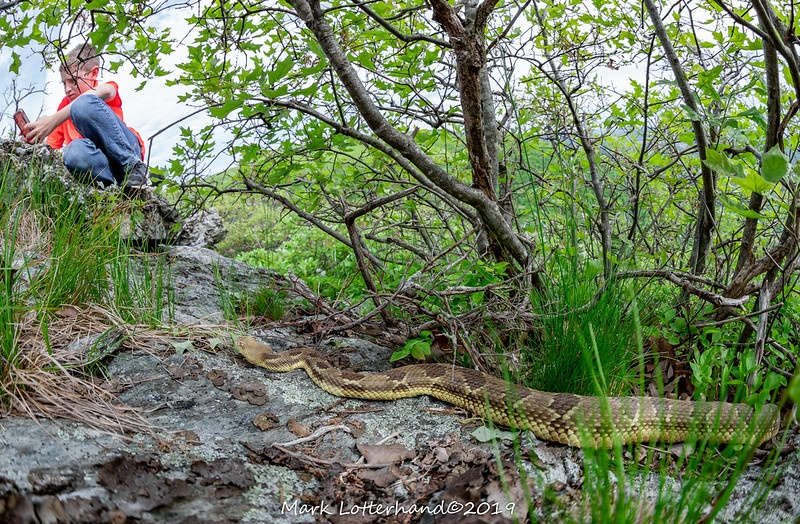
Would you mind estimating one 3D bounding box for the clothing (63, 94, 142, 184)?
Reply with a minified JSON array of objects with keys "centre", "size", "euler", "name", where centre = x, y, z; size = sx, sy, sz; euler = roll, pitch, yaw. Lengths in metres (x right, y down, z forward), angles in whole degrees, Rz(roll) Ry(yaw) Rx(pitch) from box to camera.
[{"centre":[-4.059,-1.621,7.922],"size":[0.897,1.183,0.636],"euler":[13,-11,-37],"name":"clothing"}]
